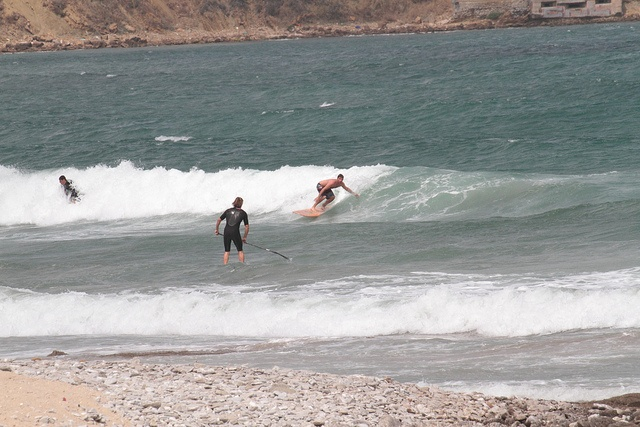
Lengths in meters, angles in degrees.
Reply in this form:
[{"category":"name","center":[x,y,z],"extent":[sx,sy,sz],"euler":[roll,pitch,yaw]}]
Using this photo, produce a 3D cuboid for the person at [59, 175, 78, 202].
[{"category":"person","center":[-12.892,-1.356,58.890],"extent":[1.100,1.303,0.555],"euler":[24,62,17]}]
